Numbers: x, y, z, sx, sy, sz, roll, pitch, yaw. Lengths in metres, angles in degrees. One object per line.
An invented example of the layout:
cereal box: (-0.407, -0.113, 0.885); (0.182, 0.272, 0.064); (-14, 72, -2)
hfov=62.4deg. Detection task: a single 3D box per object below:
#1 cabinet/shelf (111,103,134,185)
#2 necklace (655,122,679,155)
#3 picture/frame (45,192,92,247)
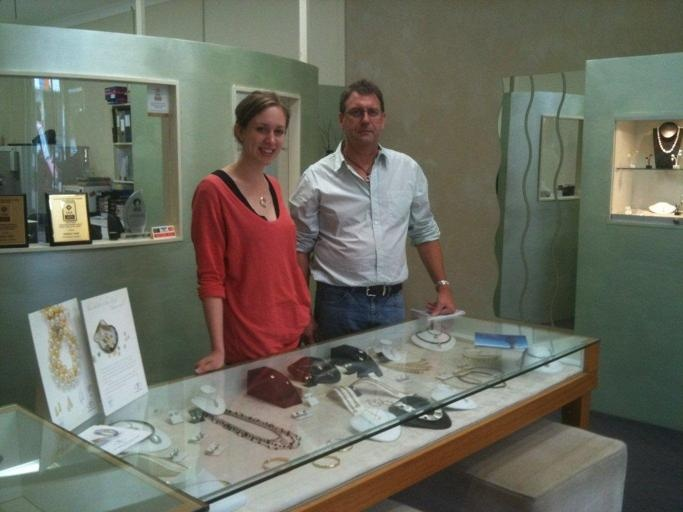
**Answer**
cabinet/shelf: (-2.197, -1.149, 5.646); (0.197, 0.744, 0.257); (-4, 15, -22)
necklace: (2.371, -0.864, 4.087); (0.183, 0.245, 0.112); (9, 31, 37)
picture/frame: (-1.890, -0.243, 3.869); (0.338, 0.430, 0.037); (-6, -10, -35)
